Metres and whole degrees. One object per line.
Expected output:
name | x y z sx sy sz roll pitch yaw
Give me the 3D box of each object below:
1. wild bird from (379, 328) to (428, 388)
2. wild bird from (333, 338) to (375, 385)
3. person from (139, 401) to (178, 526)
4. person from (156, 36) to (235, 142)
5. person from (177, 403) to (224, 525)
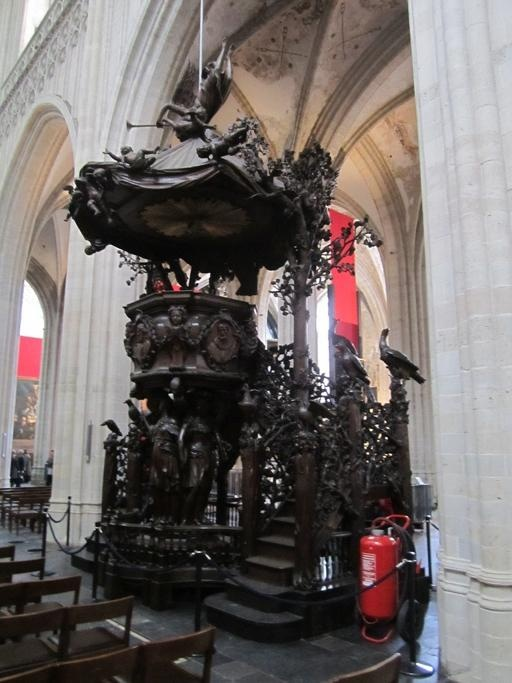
wild bird | 1.565 0.147 7.036 0.392 0.812 1.304 -3 -14 11
wild bird | 0.944 0.180 6.401 0.340 0.505 0.521 -1 -14 6
person | -0.905 1.167 6.441 0.304 1.182 0.329 0 -15 0
person | -0.576 -2.729 6.987 0.734 1.247 0.780 -3 -15 12
person | -0.566 1.271 6.473 0.247 1.062 0.534 -14 -21 43
